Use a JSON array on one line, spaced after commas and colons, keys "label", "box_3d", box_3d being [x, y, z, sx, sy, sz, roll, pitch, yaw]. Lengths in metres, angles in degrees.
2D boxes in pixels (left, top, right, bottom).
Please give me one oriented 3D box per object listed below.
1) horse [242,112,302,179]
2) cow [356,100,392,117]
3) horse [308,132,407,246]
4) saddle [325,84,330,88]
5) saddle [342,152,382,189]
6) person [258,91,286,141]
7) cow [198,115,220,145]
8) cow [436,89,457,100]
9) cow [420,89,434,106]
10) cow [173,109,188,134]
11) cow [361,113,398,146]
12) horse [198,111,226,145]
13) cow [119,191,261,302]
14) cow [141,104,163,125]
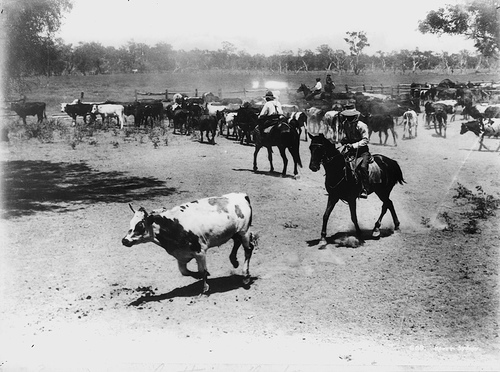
[{"label": "horse", "box_3d": [1.012, -1.380, 14.988, 0.769, 2.000, 2.931, -24, 22, -37]}, {"label": "cow", "box_3d": [7.112, -4.467, 24.445, 0.744, 1.158, 2.207, -24, 35, -35]}, {"label": "horse", "box_3d": [2.708, 0.048, 10.408, 3.134, 2.708, 0.877, -2, 4, -28]}, {"label": "saddle", "box_3d": [5.401, -7.013, 29.387, 0.290, 0.279, 0.076, 1, -6, 14]}, {"label": "saddle", "box_3d": [2.659, -0.449, 10.244, 0.727, 0.984, 0.448, -12, -17, -21]}, {"label": "person", "box_3d": [0.768, -2.465, 14.808, 0.906, 1.693, 0.669, -1, 9, 0]}, {"label": "cow", "box_3d": [-1.988, -2.652, 19.733, 0.795, 1.344, 0.752, 1, 9, 9]}, {"label": "cow", "box_3d": [15.909, -7.460, 34.038, 1.873, 0.851, 1.098, -10, 13, -44]}, {"label": "cow", "box_3d": [14.835, -7.523, 35.221, 1.040, 1.235, 0.938, 3, 10, 20]}, {"label": "cow", "box_3d": [-3.810, -3.515, 22.691, 0.786, 1.318, 1.119, -5, 10, -24]}, {"label": "cow", "box_3d": [6.417, -2.669, 19.733, 2.334, 1.331, 0.635, 15, 17, 41]}, {"label": "horse", "box_3d": [-2.218, -2.755, 19.902, 0.657, 1.324, 2.418, 2, -1, 19]}, {"label": "cow", "box_3d": [-1.026, 1.176, 8.301, 2.951, 1.917, 0.871, -8, 9, -32]}, {"label": "cow", "box_3d": [-6.054, -4.472, 25.853, 0.660, 1.189, 1.869, 2, 10, 17]}]
